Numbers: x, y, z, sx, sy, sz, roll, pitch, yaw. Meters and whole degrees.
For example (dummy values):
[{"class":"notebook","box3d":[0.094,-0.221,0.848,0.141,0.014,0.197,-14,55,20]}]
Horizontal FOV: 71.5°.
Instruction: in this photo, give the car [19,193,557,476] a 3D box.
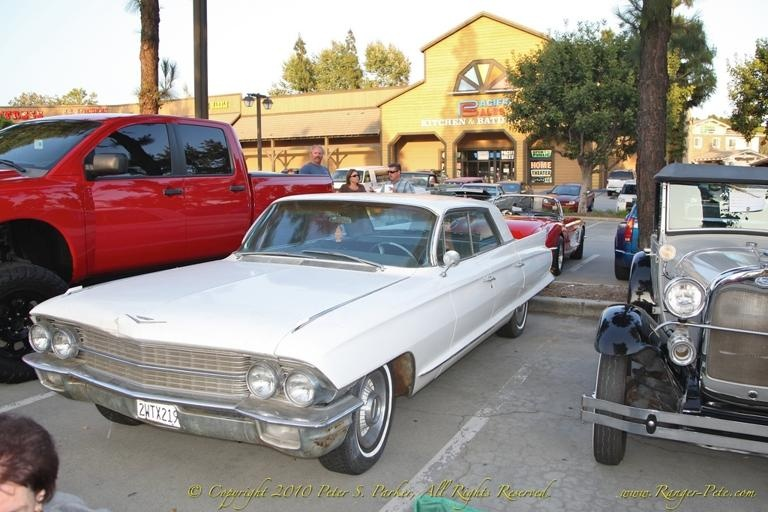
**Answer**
[{"class":"car","box3d":[-0.149,0.487,5.455,2.571,1.317,4.378,3,7,31]}]

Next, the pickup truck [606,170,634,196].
[{"class":"pickup truck","box3d":[18.146,-5.407,41.276,2.008,1.601,3.950,3,17,29]}]
